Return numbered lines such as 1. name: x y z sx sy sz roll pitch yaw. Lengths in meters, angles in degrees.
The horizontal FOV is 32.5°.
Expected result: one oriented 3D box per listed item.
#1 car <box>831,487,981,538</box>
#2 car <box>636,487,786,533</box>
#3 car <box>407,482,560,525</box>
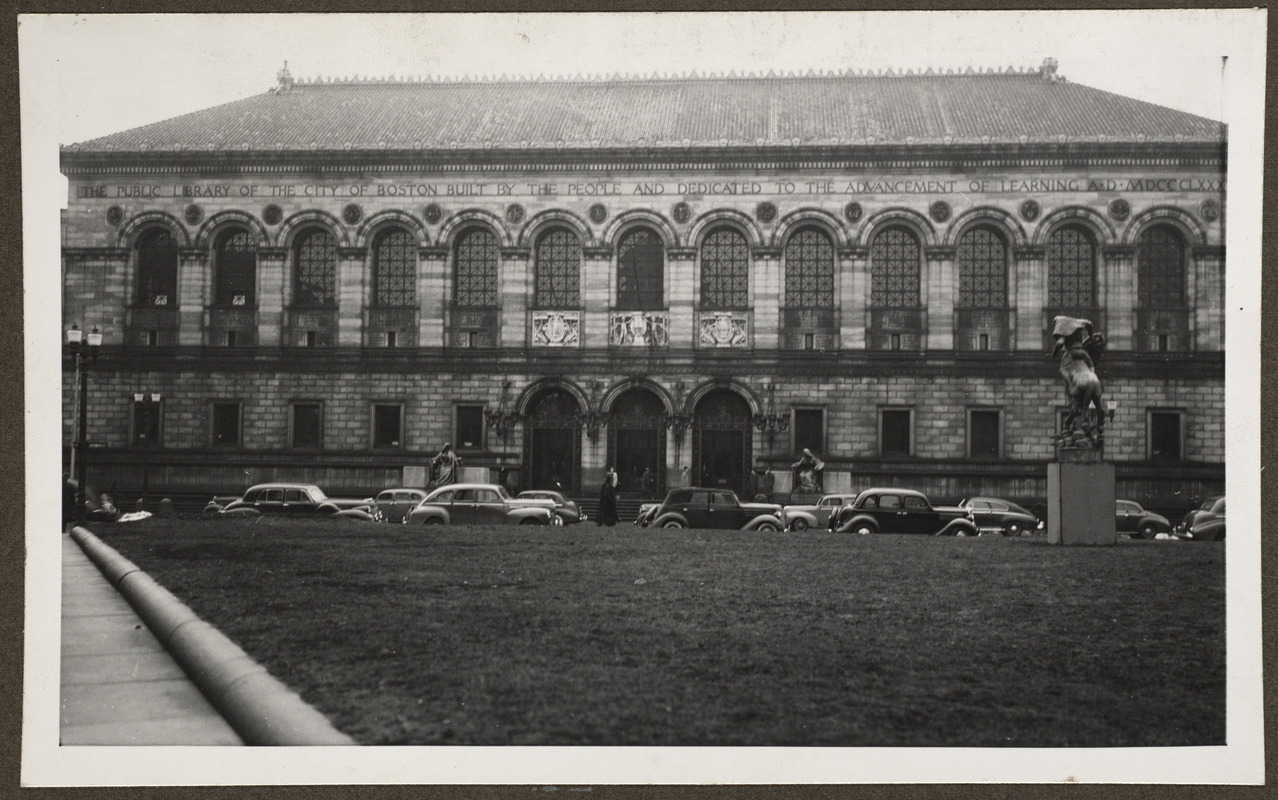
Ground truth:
1. car: 6.687 2.909 56.675 3.565 1.193 1.010 0 -2 2
2. car: 1.915 2.842 56.953 3.099 1.038 0.692 0 -2 -7
3. car: -4.123 2.738 56.852 3.730 1.032 1.029 0 -2 -7
